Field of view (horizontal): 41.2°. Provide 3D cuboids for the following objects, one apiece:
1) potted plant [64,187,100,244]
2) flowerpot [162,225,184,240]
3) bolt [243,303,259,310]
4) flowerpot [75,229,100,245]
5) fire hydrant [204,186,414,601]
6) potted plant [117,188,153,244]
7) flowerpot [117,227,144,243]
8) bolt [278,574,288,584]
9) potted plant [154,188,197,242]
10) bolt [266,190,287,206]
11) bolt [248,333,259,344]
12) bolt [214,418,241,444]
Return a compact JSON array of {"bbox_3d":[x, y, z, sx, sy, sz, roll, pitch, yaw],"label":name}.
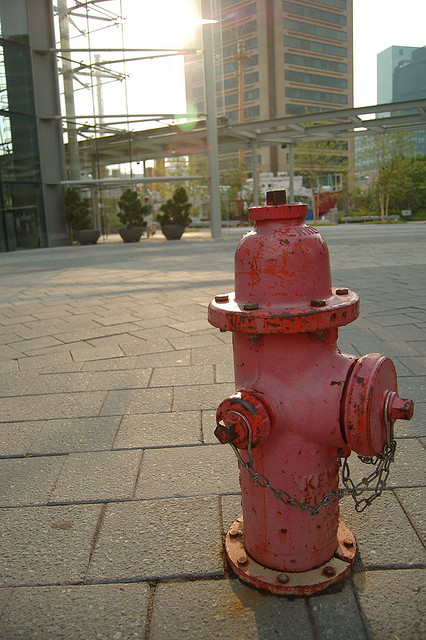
[{"bbox_3d":[-5.211,-4.072,22.315,0.788,2.203,1.096,5,17,32],"label":"potted plant"},{"bbox_3d":[-1.666,-3.677,23.452,0.725,0.467,0.679,-2,4,-7],"label":"flowerpot"},{"bbox_3d":[0.105,-0.042,1.556,0.042,0.013,0.066,-2,13,7],"label":"bolt"},{"bbox_3d":[-5.060,-3.372,22.801,0.921,0.638,0.688,-8,14,-16],"label":"flowerpot"},{"bbox_3d":[0.277,0.241,1.689,0.656,1.077,0.641,4,12,30],"label":"fire hydrant"},{"bbox_3d":[-3.235,-4.301,23.430,1.410,2.013,1.229,-6,11,-38],"label":"potted plant"},{"bbox_3d":[-3.345,-3.520,23.163,0.916,0.495,0.720,0,4,-1],"label":"flowerpot"},{"bbox_3d":[0.201,0.739,1.619,0.020,0.004,0.019,-3,31,4],"label":"bolt"},{"bbox_3d":[-1.590,-4.383,23.321,1.328,2.071,0.906,-6,15,-6],"label":"potted plant"},{"bbox_3d":[0.180,-0.347,1.598,0.056,0.050,0.040,-4,-8,27],"label":"bolt"},{"bbox_3d":[0.112,0.050,1.565,0.028,0.035,0.038,-2,14,7],"label":"bolt"},{"bbox_3d":[0.039,0.296,1.520,0.071,0.059,0.061,26,-24,-34],"label":"bolt"}]
